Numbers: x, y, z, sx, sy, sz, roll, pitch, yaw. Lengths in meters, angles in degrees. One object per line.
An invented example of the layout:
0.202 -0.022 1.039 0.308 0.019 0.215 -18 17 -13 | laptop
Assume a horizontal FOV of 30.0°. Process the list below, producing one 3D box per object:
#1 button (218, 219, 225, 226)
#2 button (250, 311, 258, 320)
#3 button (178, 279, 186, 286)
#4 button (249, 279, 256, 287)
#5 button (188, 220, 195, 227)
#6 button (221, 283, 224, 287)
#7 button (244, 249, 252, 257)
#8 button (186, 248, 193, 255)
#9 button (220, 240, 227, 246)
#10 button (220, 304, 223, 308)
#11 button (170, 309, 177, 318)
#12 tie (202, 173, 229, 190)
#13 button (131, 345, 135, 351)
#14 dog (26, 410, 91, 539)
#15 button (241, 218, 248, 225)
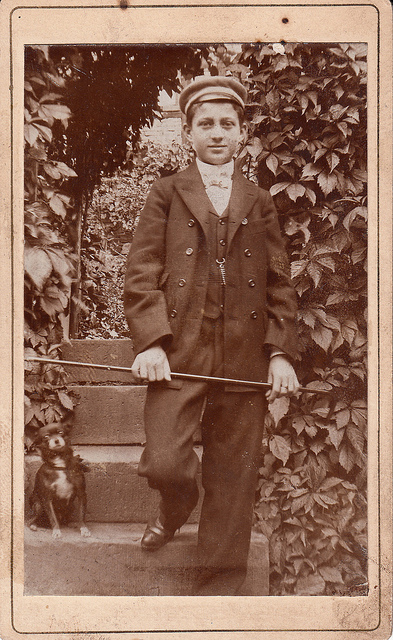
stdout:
0.088 -0.343 2.585 0.020 0.020 0.005 4 3 -15 | button
0.203 -0.016 2.601 0.030 0.029 0.007 -2 6 -39 | button
-0.051 -0.130 2.562 0.028 0.022 0.007 3 5 17 | button
0.199 -0.130 2.600 0.030 0.027 0.006 -2 6 -36 | button
-0.019 -0.338 2.579 0.020 0.024 0.005 1 5 -4 | button
0.092 -0.122 2.566 0.011 0.010 0.003 1 -3 -8 | button
0.183 -0.237 2.599 0.023 0.023 0.006 6 2 -27 | button
-0.025 -0.239 2.568 0.022 0.022 0.006 0 -3 6 | button
0.093 -0.269 2.576 0.024 0.024 0.008 2 -1 -8 | button
0.087 -0.049 2.562 0.012 0.012 0.003 0 -3 -7 | button
-0.080 -0.021 2.555 0.023 0.022 0.009 -2 -7 32 | button
0.066 -0.494 2.620 0.084 0.057 0.021 3 -8 -6 | tie
-0.226 0.094 2.592 0.003 0.014 0.013 -1 -38 -32 | button
-0.525 0.575 2.707 0.192 0.421 0.256 -3 1 -25 | dog
0.173 -0.350 2.611 0.006 0.023 0.027 6 6 42 | button
